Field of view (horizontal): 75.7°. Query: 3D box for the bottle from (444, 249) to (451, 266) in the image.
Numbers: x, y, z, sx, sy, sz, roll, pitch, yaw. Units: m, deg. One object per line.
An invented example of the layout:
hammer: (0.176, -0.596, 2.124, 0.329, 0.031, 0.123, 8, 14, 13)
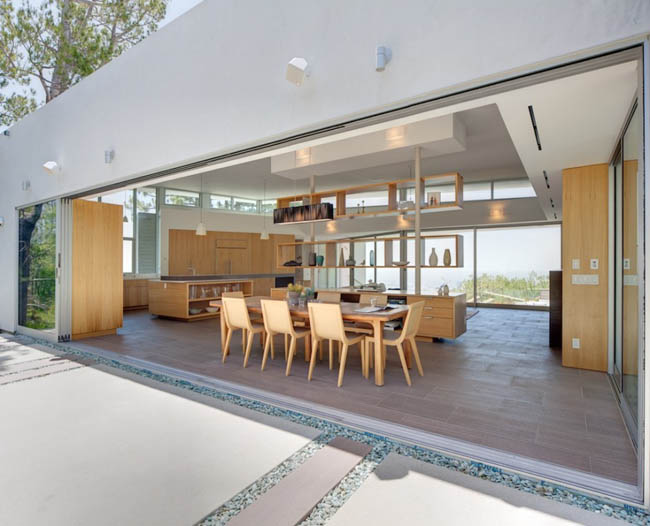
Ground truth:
bottle: (2.106, -0.086, 7.192, 0.128, 0.281, 0.245, 1, 5, 16)

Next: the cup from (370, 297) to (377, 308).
cup: (0.636, 0.528, 5.548, 0.087, 0.144, 0.086, 0, 3, 0)

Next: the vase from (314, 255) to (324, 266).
vase: (-0.076, -0.042, 7.881, 0.178, 0.214, 0.179, 1, 0, -34)

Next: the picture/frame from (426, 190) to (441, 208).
picture/frame: (1.765, -1.027, 6.800, 0.202, 0.253, 0.317, 1, 5, 14)

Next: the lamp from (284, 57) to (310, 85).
lamp: (-0.238, -1.713, 3.801, 0.206, 0.238, 0.225, 0, 3, 9)

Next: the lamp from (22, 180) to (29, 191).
lamp: (-5.373, -1.384, 7.515, 0.302, 0.173, 0.060, 3, 6, 37)

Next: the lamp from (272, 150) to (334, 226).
lamp: (-0.418, -1.508, 8.387, 1.281, 1.243, 0.430, -2, -4, 38)

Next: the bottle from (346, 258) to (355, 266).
bottle: (0.468, -0.006, 7.759, 0.132, 0.089, 0.136, 0, 0, 0)

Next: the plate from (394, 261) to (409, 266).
plate: (1.342, 0.026, 7.438, 0.241, 0.083, 0.549, 0, 5, 13)

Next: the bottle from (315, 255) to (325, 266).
bottle: (-0.104, -0.045, 7.863, 0.165, 0.200, 0.173, 2, 5, 25)

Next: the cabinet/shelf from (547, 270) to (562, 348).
cabinet/shelf: (3.636, 0.762, 6.534, 0.121, 1.243, 0.232, 0, -1, -20)

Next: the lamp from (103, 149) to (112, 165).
lamp: (-3.048, -1.502, 5.911, 0.269, 0.215, 0.054, 4, 7, 44)

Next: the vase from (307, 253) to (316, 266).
vase: (-0.230, -0.064, 7.975, 0.134, 0.236, 0.134, -1, 5, 0)

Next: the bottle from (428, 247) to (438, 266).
bottle: (1.797, -0.082, 6.924, 0.123, 0.283, 0.311, 1, 5, 14)

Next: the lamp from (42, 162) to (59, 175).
lamp: (-4.504, -1.583, 6.898, 0.192, 0.239, 0.462, -4, 6, -35)

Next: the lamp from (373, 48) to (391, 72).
lamp: (0.476, -1.670, 3.489, 0.101, 0.180, 0.177, 0, 0, 32)
